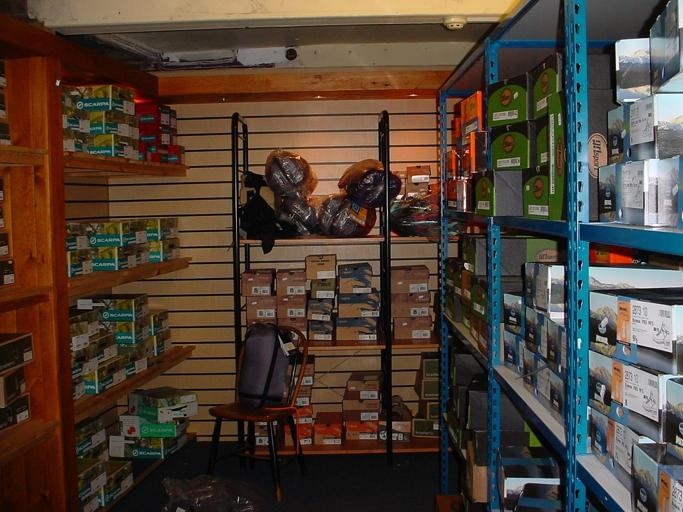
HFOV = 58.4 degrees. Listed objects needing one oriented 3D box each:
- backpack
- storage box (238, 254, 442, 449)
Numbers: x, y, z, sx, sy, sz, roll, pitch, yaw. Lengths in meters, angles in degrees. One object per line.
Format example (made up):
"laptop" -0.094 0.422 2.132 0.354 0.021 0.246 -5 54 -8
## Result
"backpack" -0.527 0.729 4.043 0.351 0.519 0.279 1 11 -2
"storage box" -0.009 0.693 4.393 1.415 1.359 0.493 -1 -1 0
